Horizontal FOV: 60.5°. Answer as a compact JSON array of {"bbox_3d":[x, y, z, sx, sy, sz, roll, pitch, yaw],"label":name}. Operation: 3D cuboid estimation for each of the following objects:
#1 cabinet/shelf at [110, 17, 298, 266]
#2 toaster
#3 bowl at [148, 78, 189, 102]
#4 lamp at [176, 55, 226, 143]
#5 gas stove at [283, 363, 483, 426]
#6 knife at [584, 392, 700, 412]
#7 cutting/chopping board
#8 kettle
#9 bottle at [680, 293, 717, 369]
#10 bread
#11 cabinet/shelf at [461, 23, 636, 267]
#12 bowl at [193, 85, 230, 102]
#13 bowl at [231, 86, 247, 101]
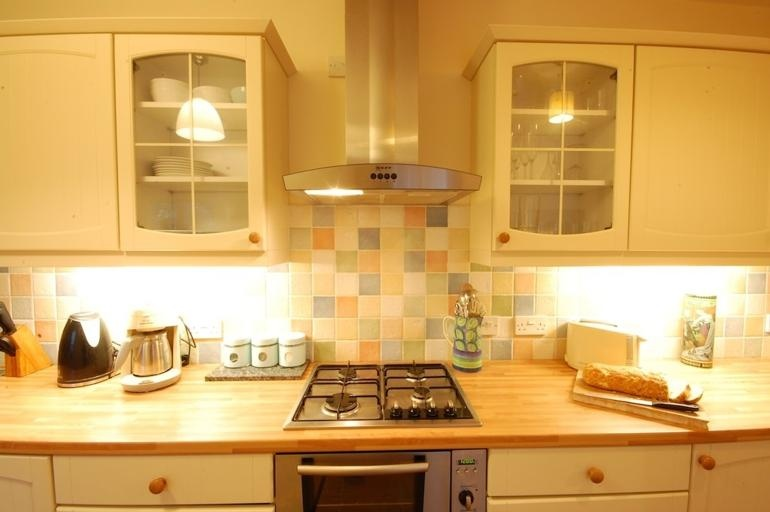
[{"bbox_3d":[-0.935,-0.496,3.525,0.719,1.276,0.615,0,1,-3],"label":"cabinet/shelf"},{"bbox_3d":[1.157,0.482,3.579,0.398,0.249,0.215,7,8,13],"label":"toaster"},{"bbox_3d":[-1.075,-0.822,3.277,0.115,0.069,0.143,7,12,7],"label":"bowl"},{"bbox_3d":[-0.854,-0.749,3.196,0.189,0.403,0.261,1,10,-4],"label":"lamp"},{"bbox_3d":[-0.017,0.689,3.340,0.908,0.199,0.524,-2,4,-1],"label":"gas stove"},{"bbox_3d":[1.249,0.706,3.180,0.467,0.036,0.065,3,5,10],"label":"knife"},{"bbox_3d":[1.224,0.707,3.215,0.619,0.202,0.201,0,5,23],"label":"cutting/chopping board"},{"bbox_3d":[-1.520,0.483,3.436,0.266,0.396,0.256,2,10,-8],"label":"kettle"},{"bbox_3d":[1.684,0.402,3.586,0.168,0.400,0.132,2,8,9],"label":"bottle"},{"bbox_3d":[1.263,0.628,3.275,0.433,0.111,0.230,4,2,24],"label":"bread"},{"bbox_3d":[0.861,-0.570,3.600,0.802,1.134,0.604,2,9,-1],"label":"cabinet/shelf"},{"bbox_3d":[-0.865,-0.789,3.275,0.108,0.036,0.101,1,-2,0],"label":"bowl"},{"bbox_3d":[-0.724,-0.797,3.285,0.077,0.059,0.072,-3,-7,0],"label":"bowl"}]
